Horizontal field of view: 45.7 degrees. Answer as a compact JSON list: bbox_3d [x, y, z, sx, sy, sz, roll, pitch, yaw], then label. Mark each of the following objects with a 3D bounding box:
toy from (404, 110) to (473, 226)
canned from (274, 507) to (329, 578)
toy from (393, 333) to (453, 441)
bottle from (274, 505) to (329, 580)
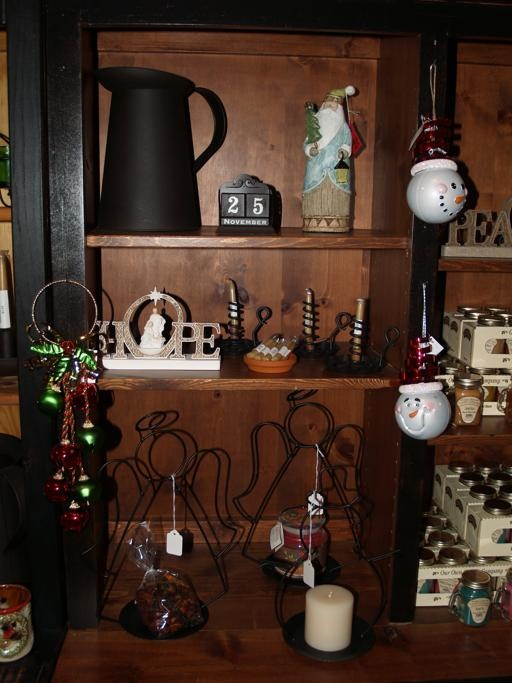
[{"bbox_3d":[0.310,-0.297,1.074,0.116,0.190,0.115,-3,19,-4],"label":"toy"},{"bbox_3d":[0.096,0.455,1.368,0.144,0.126,0.133,0,8,2],"label":"canned"},{"bbox_3d":[0.309,0.092,1.118,0.104,0.183,0.106,-2,2,31],"label":"toy"},{"bbox_3d":[0.093,0.454,1.369,0.147,0.126,0.133,2,9,13],"label":"bottle"}]
